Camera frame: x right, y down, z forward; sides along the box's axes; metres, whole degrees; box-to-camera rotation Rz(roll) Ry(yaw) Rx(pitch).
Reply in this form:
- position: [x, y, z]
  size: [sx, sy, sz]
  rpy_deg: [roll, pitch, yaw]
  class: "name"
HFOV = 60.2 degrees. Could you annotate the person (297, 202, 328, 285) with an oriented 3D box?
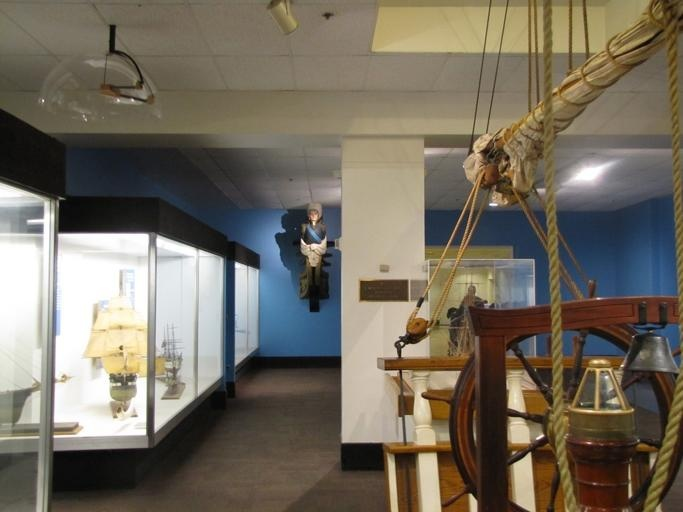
- position: [-0.457, -0.154, 9.567]
  size: [0.428, 1.350, 1.056]
  rpy_deg: [-1, 1, -4]
  class: "person"
